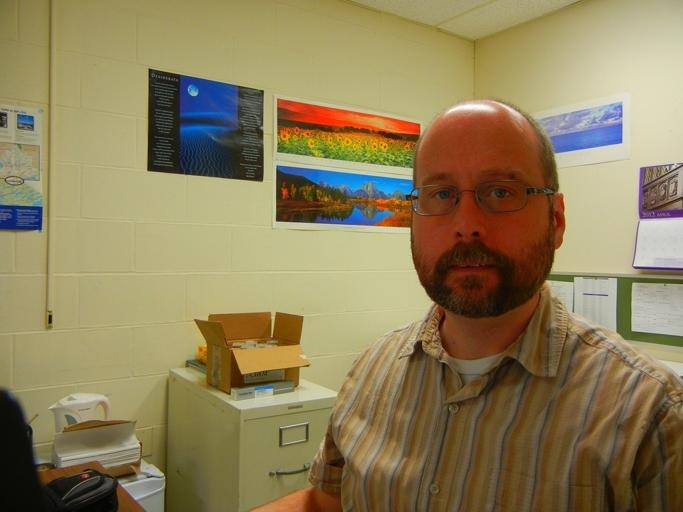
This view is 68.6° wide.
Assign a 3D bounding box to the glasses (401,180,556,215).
[{"bbox_3d":[0.268,-0.116,0.999,0.292,0.064,0.120,0,4,24],"label":"glasses"}]

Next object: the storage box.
[{"bbox_3d":[-0.404,0.425,2.236,0.446,0.313,0.436,2,0,-40],"label":"storage box"}]
